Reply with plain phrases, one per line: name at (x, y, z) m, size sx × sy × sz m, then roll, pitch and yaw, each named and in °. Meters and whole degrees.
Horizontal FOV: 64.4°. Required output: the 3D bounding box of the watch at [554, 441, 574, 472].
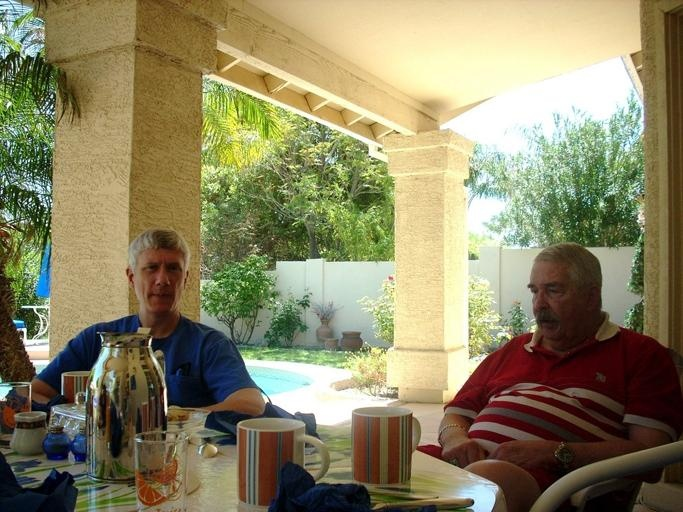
watch at (0.850, 0.768, 2.068) m, size 0.094 × 0.101 × 0.089 m, roll -1°, pitch -7°, yaw 4°

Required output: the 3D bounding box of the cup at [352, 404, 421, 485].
cup at (0.112, 0.520, 1.493) m, size 0.165 × 0.198 × 0.103 m, roll -1°, pitch -6°, yaw 0°

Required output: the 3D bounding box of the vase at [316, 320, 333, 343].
vase at (-0.353, 1.804, 12.956) m, size 0.509 × 0.614 × 0.491 m, roll 2°, pitch -9°, yaw 0°

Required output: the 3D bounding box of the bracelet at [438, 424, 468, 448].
bracelet at (0.485, 0.780, 2.390) m, size 0.095 × 0.045 × 0.114 m, roll 1°, pitch 1°, yaw 3°

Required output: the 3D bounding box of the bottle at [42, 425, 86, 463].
bottle at (-0.814, 0.556, 1.594) m, size 0.140 × 0.079 × 0.055 m, roll 1°, pitch -6°, yaw -5°

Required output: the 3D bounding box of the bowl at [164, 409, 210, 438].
bowl at (-0.504, 0.547, 1.764) m, size 0.192 × 0.044 × 0.189 m, roll 2°, pitch 2°, yaw 0°

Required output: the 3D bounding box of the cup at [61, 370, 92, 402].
cup at (-0.928, 0.458, 1.884) m, size 0.079 × 0.101 × 0.191 m, roll 2°, pitch -7°, yaw -26°
